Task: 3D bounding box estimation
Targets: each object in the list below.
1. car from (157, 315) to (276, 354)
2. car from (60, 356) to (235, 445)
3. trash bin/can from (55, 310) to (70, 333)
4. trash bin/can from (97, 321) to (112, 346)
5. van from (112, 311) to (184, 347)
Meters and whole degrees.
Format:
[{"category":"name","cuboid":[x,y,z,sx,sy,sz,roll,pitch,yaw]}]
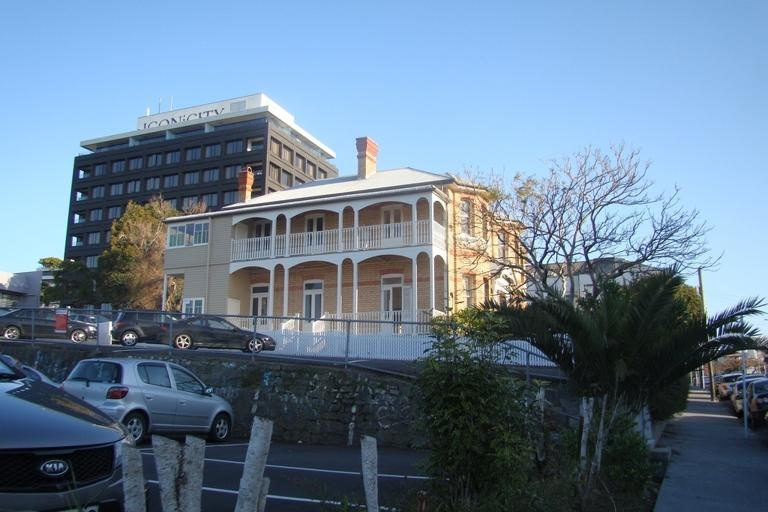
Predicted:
[{"category":"car","cuboid":[-6.231,2.862,22.210,3.887,1.121,1.726,2,-7,-14]},{"category":"car","cuboid":[-5.540,3.159,14.349,2.370,1.806,3.920,-9,-15,42]},{"category":"trash bin/can","cuboid":[-12.565,2.490,23.300,0.452,0.897,0.754,8,-15,-28]},{"category":"trash bin/can","cuboid":[-10.361,2.788,22.097,0.516,0.925,1.428,7,-14,-24]},{"category":"van","cuboid":[-9.401,2.732,22.979,2.805,1.190,1.671,-3,-4,-9]}]
